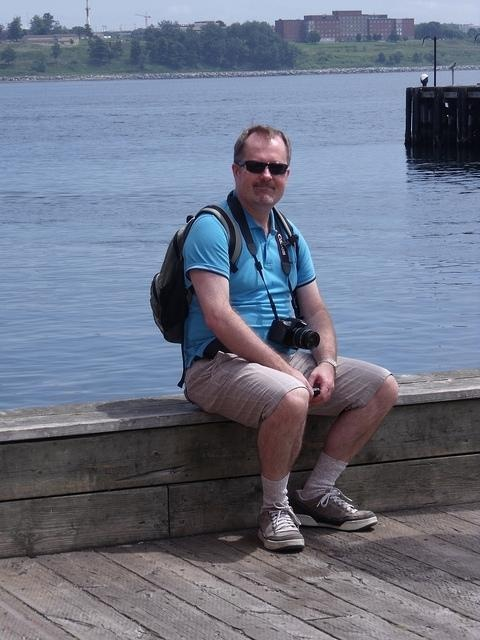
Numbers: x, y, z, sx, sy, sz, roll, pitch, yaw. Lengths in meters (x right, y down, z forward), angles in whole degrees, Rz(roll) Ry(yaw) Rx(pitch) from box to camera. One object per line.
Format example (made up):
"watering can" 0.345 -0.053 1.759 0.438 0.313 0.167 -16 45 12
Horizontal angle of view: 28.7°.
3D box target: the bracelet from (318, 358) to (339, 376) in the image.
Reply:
"bracelet" 0.335 0.183 3.631 0.065 0.017 0.068 14 -10 46

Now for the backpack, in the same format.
"backpack" -0.104 -0.177 3.784 0.724 0.586 0.465 4 0 -29

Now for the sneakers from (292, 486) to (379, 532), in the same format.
"sneakers" 0.373 0.747 3.661 0.397 0.147 0.135 -4 -17 40

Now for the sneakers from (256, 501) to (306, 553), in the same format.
"sneakers" 0.147 0.758 3.399 0.134 0.150 0.151 -1 9 -8

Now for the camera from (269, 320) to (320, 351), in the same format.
"camera" 0.192 0.042 3.645 0.168 0.098 0.124 17 18 37
